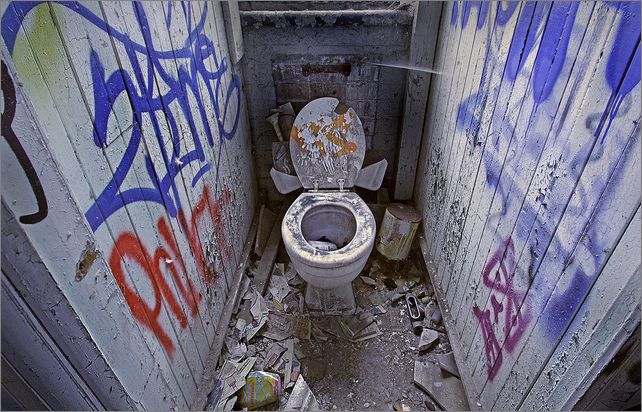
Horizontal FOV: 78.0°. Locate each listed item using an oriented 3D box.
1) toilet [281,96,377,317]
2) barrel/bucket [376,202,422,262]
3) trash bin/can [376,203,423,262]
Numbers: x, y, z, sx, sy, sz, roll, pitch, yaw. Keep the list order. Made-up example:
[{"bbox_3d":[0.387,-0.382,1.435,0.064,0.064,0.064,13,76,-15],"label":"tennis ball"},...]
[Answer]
[{"bbox_3d":[0.032,-0.090,2.274,0.528,0.897,0.775,-3,26,-3],"label":"toilet"},{"bbox_3d":[0.492,0.176,2.524,0.224,0.349,0.201,-8,26,-13],"label":"barrel/bucket"},{"bbox_3d":[0.496,0.210,2.589,0.242,0.274,0.243,1,-17,18],"label":"trash bin/can"}]
